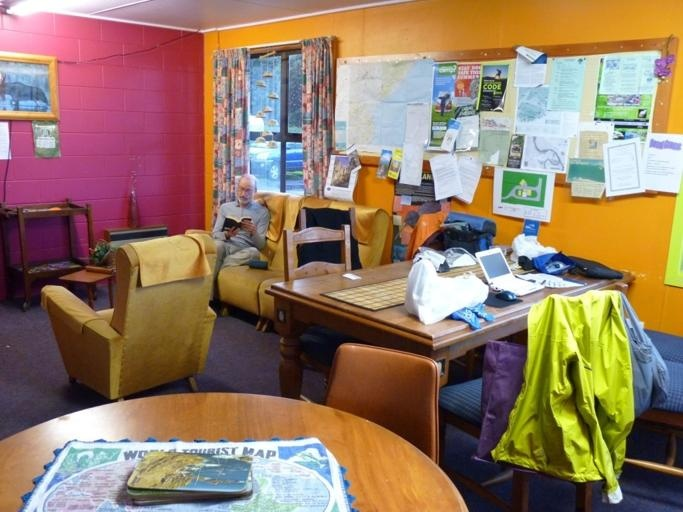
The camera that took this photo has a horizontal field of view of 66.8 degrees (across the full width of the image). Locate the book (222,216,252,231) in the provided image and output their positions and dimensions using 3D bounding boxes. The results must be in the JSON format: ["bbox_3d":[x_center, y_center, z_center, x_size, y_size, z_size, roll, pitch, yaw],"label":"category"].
[{"bbox_3d":[-0.988,-0.304,4.941,0.251,0.137,0.066,4,11,25],"label":"book"}]

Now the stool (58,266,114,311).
[{"bbox_3d":[-2.198,0.271,4.442,0.318,0.316,0.323,10,13,26],"label":"stool"}]

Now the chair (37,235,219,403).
[{"bbox_3d":[-1.276,0.301,3.596,1.073,1.183,1.038,17,20,41],"label":"chair"}]

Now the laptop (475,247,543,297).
[{"bbox_3d":[0.926,0.108,2.898,0.291,0.192,0.291,-14,24,-33],"label":"laptop"}]

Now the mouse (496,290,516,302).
[{"bbox_3d":[0.853,0.207,2.694,0.082,0.029,0.049,-7,13,-38],"label":"mouse"}]
